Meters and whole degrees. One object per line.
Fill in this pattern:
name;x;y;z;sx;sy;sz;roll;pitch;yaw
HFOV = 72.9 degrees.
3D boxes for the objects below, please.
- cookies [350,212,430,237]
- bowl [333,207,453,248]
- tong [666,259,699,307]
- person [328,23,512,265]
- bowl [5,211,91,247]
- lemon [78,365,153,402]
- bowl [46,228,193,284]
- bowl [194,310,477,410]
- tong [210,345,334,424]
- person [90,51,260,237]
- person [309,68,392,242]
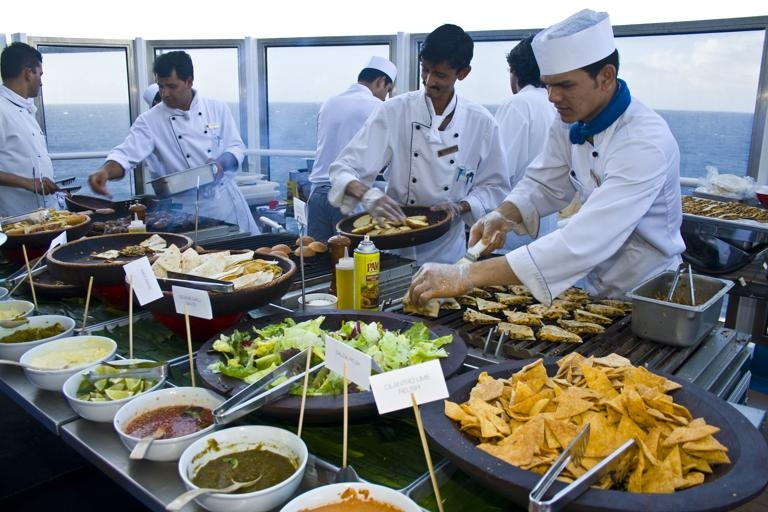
cookies;0.043;-0.192;2.897;0.466;0.120;0.375;-2;8;-26
bowl;0.028;-0.232;3.003;0.754;0.230;0.585;-3;12;-26
tong;1.317;0.118;2.245;0.136;0.185;0.143;-3;5;5
person;0.248;-0.619;3.662;1.111;1.035;1.624;0;-25;2
bowl;-1.876;-0.147;2.895;0.304;0.130;0.385;10;18;28
lemon;-0.885;0.417;1.702;0.242;0.065;0.096;1;16;4
bowl;-1.381;-0.003;2.464;0.378;0.121;0.375;0;10;0
bowl;-0.141;0.316;1.929;0.470;0.082;0.472;-1;12;0
tong;-0.314;0.406;1.656;0.134;0.094;0.467;32;41;32
person;-1.822;-0.960;4.621;1.049;1.608;1.117;3;17;11
person;-0.305;-0.923;4.720;0.852;1.530;0.821;0;25;-4
